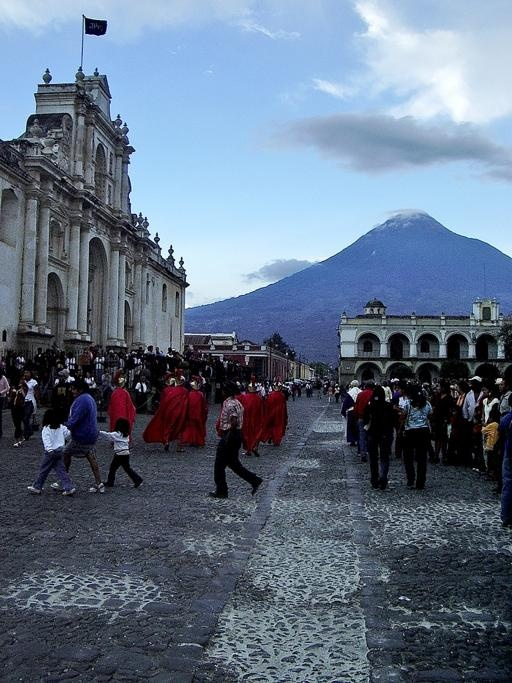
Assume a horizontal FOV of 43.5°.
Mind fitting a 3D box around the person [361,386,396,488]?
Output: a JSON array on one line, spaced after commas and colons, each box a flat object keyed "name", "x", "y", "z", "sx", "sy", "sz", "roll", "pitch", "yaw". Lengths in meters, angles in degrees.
[{"name": "person", "x": 1.921, "y": 1.442, "z": 9.877, "sx": 0.526, "sy": 1.600, "sz": 0.519, "roll": -1, "pitch": 2, "yaw": 20}]

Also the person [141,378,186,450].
[{"name": "person", "x": -1.947, "y": 1.496, "z": 13.855, "sx": 0.929, "sy": 1.700, "sz": 0.624, "roll": 3, "pitch": 27, "yaw": -11}]

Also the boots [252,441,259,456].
[{"name": "boots", "x": -0.011, "y": 2.307, "z": 13.849, "sx": 0.129, "sy": 0.382, "sz": 0.274, "roll": -2, "pitch": 25, "yaw": 2}]

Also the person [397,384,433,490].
[{"name": "person", "x": 2.485, "y": 1.457, "z": 10.065, "sx": 0.465, "sy": 1.525, "sz": 1.355, "roll": 1, "pitch": -4, "yaw": 15}]

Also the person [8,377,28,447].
[{"name": "person", "x": -5.213, "y": 1.542, "z": 14.034, "sx": 0.341, "sy": 1.415, "sz": 1.194, "roll": 4, "pitch": -4, "yaw": -20}]

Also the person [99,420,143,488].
[{"name": "person", "x": -1.863, "y": 1.574, "z": 9.001, "sx": 0.590, "sy": 0.978, "sz": 1.060, "roll": 3, "pitch": -4, "yaw": -10}]

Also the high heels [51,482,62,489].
[{"name": "high heels", "x": -2.643, "y": 1.924, "z": 8.459, "sx": 0.164, "sy": 0.073, "sz": 0.064, "roll": 28, "pitch": -3, "yaw": -22}]

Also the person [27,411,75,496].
[{"name": "person", "x": -2.600, "y": 1.420, "z": 8.250, "sx": 0.524, "sy": 1.065, "sz": 0.490, "roll": 4, "pitch": -4, "yaw": -26}]

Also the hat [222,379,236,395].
[{"name": "hat", "x": -0.379, "y": 0.666, "z": 9.006, "sx": 0.163, "sy": 0.198, "sz": 0.204, "roll": 2, "pitch": -3, "yaw": -3}]

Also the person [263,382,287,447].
[{"name": "person", "x": 0.474, "y": 1.831, "z": 15.918, "sx": 0.565, "sy": 1.569, "sz": 1.536, "roll": 2, "pitch": -4, "yaw": 1}]

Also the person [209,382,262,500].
[{"name": "person", "x": -0.256, "y": 1.336, "z": 8.886, "sx": 0.662, "sy": 1.494, "sz": 1.219, "roll": 2, "pitch": -4, "yaw": 0}]

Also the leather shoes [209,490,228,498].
[{"name": "leather shoes", "x": -0.487, "y": 1.997, "z": 8.376, "sx": 0.238, "sy": 0.074, "sz": 0.298, "roll": 2, "pitch": -4, "yaw": -4}]

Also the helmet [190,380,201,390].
[{"name": "helmet", "x": -1.341, "y": 0.958, "z": 14.115, "sx": 0.207, "sy": 0.206, "sz": 0.318, "roll": 2, "pitch": -4, "yaw": -6}]

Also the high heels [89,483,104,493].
[{"name": "high heels", "x": -2.125, "y": 1.948, "z": 8.600, "sx": 0.110, "sy": 0.109, "sz": 0.226, "roll": 4, "pitch": 1, "yaw": -19}]

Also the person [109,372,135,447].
[{"name": "person", "x": -1.989, "y": 0.982, "z": 9.557, "sx": 0.418, "sy": 0.907, "sz": 0.257, "roll": 2, "pitch": 18, "yaw": -7}]

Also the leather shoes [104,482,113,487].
[{"name": "leather shoes", "x": -2.068, "y": 2.012, "z": 9.041, "sx": 0.139, "sy": 0.060, "sz": 0.048, "roll": 0, "pitch": 2, "yaw": 35}]

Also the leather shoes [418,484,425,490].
[{"name": "leather shoes", "x": 2.426, "y": 2.136, "z": 9.462, "sx": 0.106, "sy": 0.072, "sz": 0.216, "roll": 1, "pitch": -4, "yaw": 16}]

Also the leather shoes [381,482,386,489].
[{"name": "leather shoes", "x": 1.861, "y": 2.107, "z": 9.391, "sx": 0.068, "sy": 0.113, "sz": 0.194, "roll": 1, "pitch": -4, "yaw": 12}]

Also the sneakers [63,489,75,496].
[{"name": "sneakers", "x": -2.374, "y": 1.917, "z": 8.168, "sx": 0.072, "sy": 0.085, "sz": 0.187, "roll": 0, "pitch": 4, "yaw": -42}]

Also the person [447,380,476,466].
[{"name": "person", "x": 4.094, "y": 1.639, "z": 12.861, "sx": 0.460, "sy": 1.683, "sz": 1.159, "roll": 1, "pitch": -4, "yaw": 17}]

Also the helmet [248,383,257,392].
[{"name": "helmet", "x": -0.088, "y": 1.011, "z": 14.049, "sx": 0.174, "sy": 0.193, "sz": 0.216, "roll": 1, "pitch": -14, "yaw": -2}]

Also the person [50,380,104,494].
[{"name": "person", "x": -2.452, "y": 1.277, "z": 8.734, "sx": 0.749, "sy": 1.502, "sz": 0.544, "roll": 3, "pitch": -16, "yaw": -25}]

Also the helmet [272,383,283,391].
[{"name": "helmet", "x": 0.498, "y": 1.096, "z": 15.454, "sx": 0.212, "sy": 0.228, "sz": 0.509, "roll": 2, "pitch": -4, "yaw": 2}]
